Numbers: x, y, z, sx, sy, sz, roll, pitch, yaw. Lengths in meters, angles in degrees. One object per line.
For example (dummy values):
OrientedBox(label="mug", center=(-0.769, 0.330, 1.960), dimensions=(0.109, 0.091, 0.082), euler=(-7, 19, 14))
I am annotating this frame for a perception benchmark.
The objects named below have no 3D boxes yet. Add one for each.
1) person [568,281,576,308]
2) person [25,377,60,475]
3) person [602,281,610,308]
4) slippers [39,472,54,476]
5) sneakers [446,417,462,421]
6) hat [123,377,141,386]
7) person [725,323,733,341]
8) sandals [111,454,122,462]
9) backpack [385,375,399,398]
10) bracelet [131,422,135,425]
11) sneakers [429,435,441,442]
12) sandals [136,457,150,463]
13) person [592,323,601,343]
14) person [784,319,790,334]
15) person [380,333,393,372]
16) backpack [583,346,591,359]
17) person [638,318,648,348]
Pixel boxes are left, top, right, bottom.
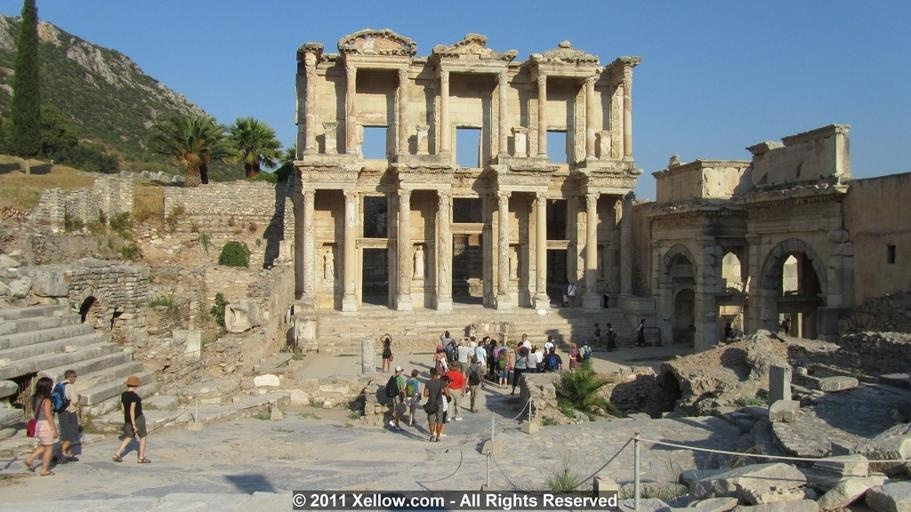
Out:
OrientedBox(label="person", center=(6.970, 2.332, 51.413), dimensions=(0.429, 1.469, 0.833), euler=(1, -6, 13))
OrientedBox(label="person", center=(-15.328, 6.277, 31.417), dimensions=(1.098, 3.510, 0.784), euler=(-4, -9, 44))
OrientedBox(label="person", center=(9.111, 2.397, 51.699), dimensions=(0.445, 1.628, 1.238), euler=(1, -6, 9))
OrientedBox(label="slippers", center=(-14.994, 7.971, 30.984), dimensions=(0.346, 0.094, 0.167), euler=(-1, 2, -14))
OrientedBox(label="sneakers", center=(-0.106, 7.075, 36.804), dimensions=(0.615, 0.227, 0.215), euler=(4, -7, -28))
OrientedBox(label="hat", center=(-12.385, 4.890, 32.616), dimensions=(0.626, 0.198, 0.603), euler=(11, 9, 5))
OrientedBox(label="person", center=(16.496, 4.532, 51.376), dimensions=(0.413, 0.943, 2.286), euler=(0, -6, 19))
OrientedBox(label="sandals", center=(-12.800, 7.654, 31.913), dimensions=(0.170, 0.137, 0.415), euler=(2, 0, 20))
OrientedBox(label="backpack", center=(-2.753, 5.602, 36.257), dimensions=(0.545, 0.886, 0.381), euler=(2, -6, -5))
OrientedBox(label="bracelet", center=(-12.233, 6.322, 32.008), dimensions=(0.103, 0.082, 0.024), euler=(-1, -8, -23))
OrientedBox(label="sneakers", center=(-0.939, 7.546, 34.993), dimensions=(0.503, 0.201, 0.202), euler=(1, -2, -35))
OrientedBox(label="sandals", center=(-11.803, 7.695, 31.867), dimensions=(0.431, 0.154, 0.182), euler=(-1, -1, -4))
OrientedBox(label="person", center=(7.961, 4.305, 47.943), dimensions=(0.466, 1.113, 1.872), euler=(1, -6, 9))
OrientedBox(label="person", center=(20.227, 4.289, 51.935), dimensions=(0.212, 0.875, 0.407), euler=(3, -6, -6))
OrientedBox(label="person", center=(-3.476, 4.836, 42.280), dimensions=(0.438, 1.790, 1.071), euler=(3, -6, -6))
OrientedBox(label="backpack", center=(6.563, 4.904, 42.947), dimensions=(0.478, 0.522, 0.586), euler=(0, -8, -5))
OrientedBox(label="person", center=(10.630, 4.381, 48.503), dimensions=(0.374, 1.583, 0.807), euler=(-2, -7, 31))
